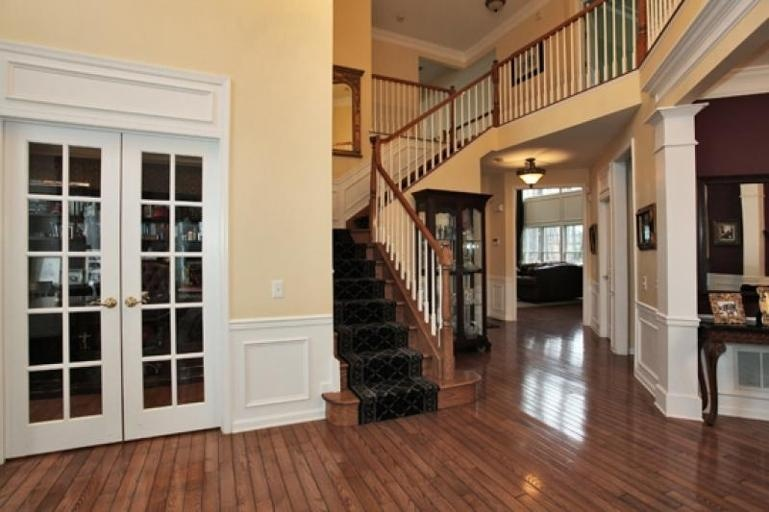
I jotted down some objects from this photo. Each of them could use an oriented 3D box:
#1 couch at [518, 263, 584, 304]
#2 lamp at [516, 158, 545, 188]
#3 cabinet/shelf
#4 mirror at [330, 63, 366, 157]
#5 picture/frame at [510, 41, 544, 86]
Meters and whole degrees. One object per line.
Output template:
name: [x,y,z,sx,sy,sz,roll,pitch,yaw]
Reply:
couch: [3.706,0.638,12.495,1.406,0.927,0.942,-4,0,9]
lamp: [2.323,-1.326,8.912,0.414,0.433,0.421,0,8,4]
cabinet/shelf: [1.054,0.217,7.900,1.049,2.301,0.300,-3,0,-25]
mirror: [-0.588,-2.388,9.270,0.580,1.529,0.434,-3,0,1]
picture/frame: [2.294,-3.063,8.963,0.055,0.732,0.758,-17,18,-33]
